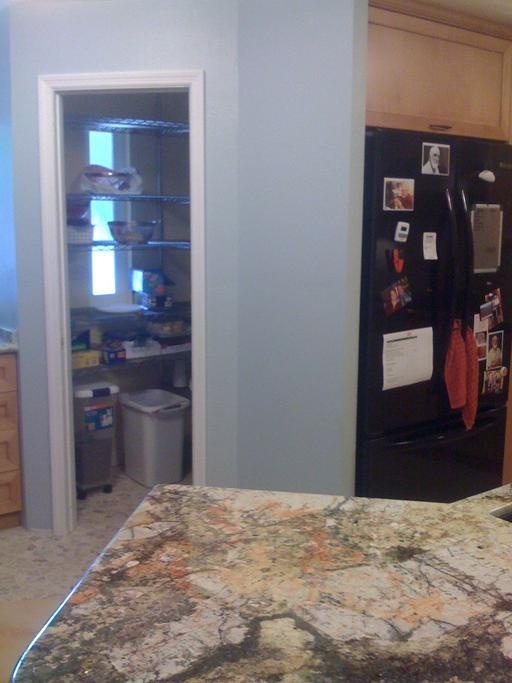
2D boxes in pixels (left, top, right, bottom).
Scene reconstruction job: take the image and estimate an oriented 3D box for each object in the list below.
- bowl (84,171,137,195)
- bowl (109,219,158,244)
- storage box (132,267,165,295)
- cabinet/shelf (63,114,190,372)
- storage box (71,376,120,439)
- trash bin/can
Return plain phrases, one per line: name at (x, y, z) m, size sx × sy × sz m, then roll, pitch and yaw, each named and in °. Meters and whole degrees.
bowl at (-0.809, -0.904, 3.369) m, size 0.069 × 0.142 × 0.364 m, roll 7°, pitch 10°, yaw 44°
bowl at (-0.723, -0.652, 3.515) m, size 0.261 × 0.134 × 0.156 m, roll -3°, pitch 8°, yaw -23°
storage box at (-0.673, -0.367, 3.780) m, size 0.285 × 0.184 × 0.150 m, roll 0°, pitch 1°, yaw 1°
cabinet/shelf at (-0.735, -0.595, 3.627) m, size 0.794 × 1.448 × 0.779 m, roll -2°, pitch 8°, yaw -17°
storage box at (-0.868, 0.344, 3.277) m, size 0.310 × 0.285 × 0.234 m, roll -6°, pitch 11°, yaw -43°
trash bin/can at (-0.609, 0.570, 3.533) m, size 0.362 × 0.515 × 0.434 m, roll -5°, pitch 9°, yaw -33°
